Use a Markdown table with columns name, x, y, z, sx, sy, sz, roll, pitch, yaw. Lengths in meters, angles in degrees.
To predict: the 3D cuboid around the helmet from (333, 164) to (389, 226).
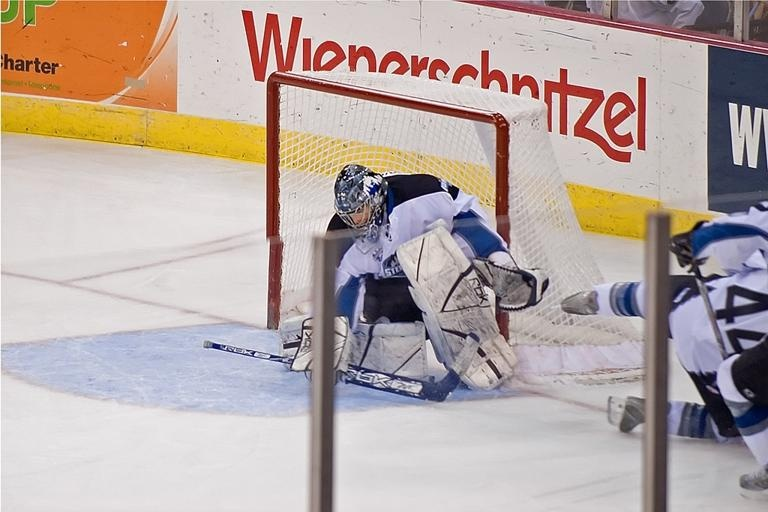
| name | x | y | z | sx | sy | sz | roll | pitch | yaw |
| --- | --- | --- | --- | --- | --- | --- | --- | --- | --- |
| helmet | -0.090 | -0.254 | 5.960 | 0.230 | 0.262 | 0.246 | -5 | -32 | 29 |

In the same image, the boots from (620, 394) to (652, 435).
| name | x | y | z | sx | sy | sz | roll | pitch | yaw |
| --- | --- | --- | --- | --- | --- | --- | --- | --- | --- |
| boots | 0.953 | 0.596 | 4.983 | 0.105 | 0.149 | 0.083 | 16 | 14 | 41 |

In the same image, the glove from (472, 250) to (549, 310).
| name | x | y | z | sx | sy | sz | roll | pitch | yaw |
| --- | --- | --- | --- | --- | --- | --- | --- | --- | --- |
| glove | 0.556 | 0.129 | 5.762 | 0.405 | 0.142 | 0.174 | 22 | -6 | 2 |
